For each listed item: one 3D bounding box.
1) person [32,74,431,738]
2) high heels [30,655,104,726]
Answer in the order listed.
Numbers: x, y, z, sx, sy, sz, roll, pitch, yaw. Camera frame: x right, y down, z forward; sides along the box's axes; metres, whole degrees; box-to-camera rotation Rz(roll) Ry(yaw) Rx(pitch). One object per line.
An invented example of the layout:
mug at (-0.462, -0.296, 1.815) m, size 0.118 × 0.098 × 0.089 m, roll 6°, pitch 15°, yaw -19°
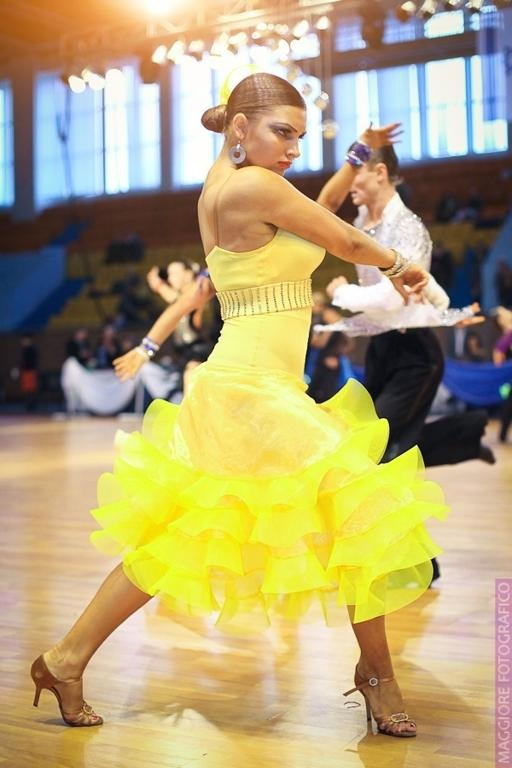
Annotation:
person at (-0.020, 0.048, 1.618) m, size 0.788 × 1.333 × 0.416 m, roll 1°, pitch 1°, yaw 12°
high heels at (-0.388, 0.643, 1.630) m, size 0.173 × 0.112 × 0.073 m, roll 16°, pitch -9°, yaw 1°
